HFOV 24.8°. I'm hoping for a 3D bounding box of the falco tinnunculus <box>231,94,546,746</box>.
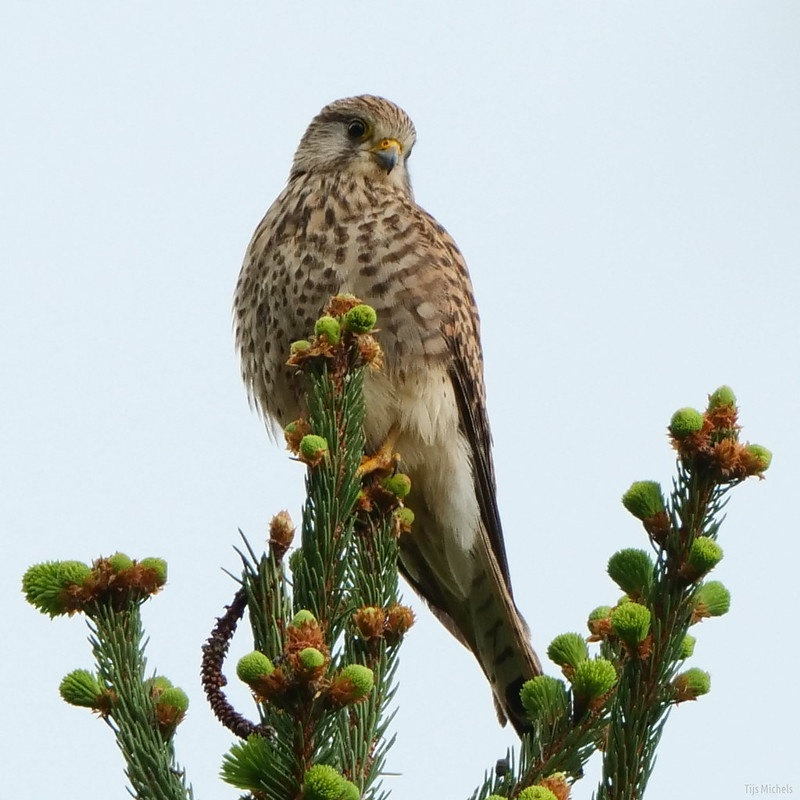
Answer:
[{"bbox_3d":[-0.074,0.154,5.012,0.484,1.703,1.102,-19,-51,23],"label":"falco tinnunculus"}]
